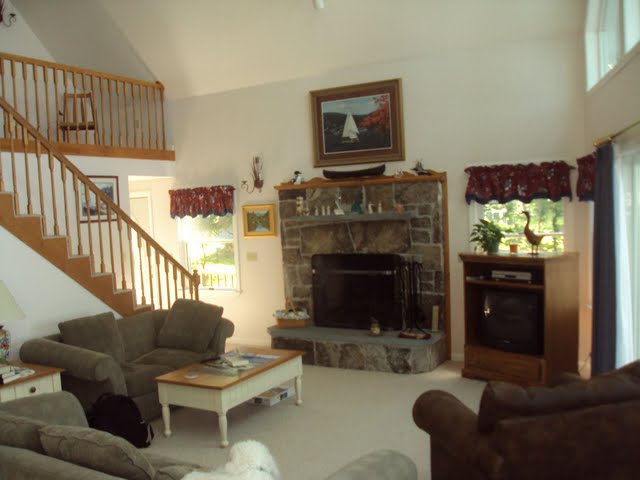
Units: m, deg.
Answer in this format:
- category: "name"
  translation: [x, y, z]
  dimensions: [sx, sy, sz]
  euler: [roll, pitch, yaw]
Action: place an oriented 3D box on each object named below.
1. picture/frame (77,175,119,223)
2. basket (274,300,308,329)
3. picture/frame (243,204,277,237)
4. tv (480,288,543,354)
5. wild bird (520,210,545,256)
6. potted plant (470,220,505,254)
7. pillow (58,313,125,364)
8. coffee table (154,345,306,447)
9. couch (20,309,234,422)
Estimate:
- category: "picture/frame"
  translation: [-3.370, -0.598, 7.830]
  dimensions: [0.665, 0.813, 0.027]
  euler: [-4, -19, -18]
- category: "basket"
  translation: [-0.396, 1.099, 7.438]
  dimensions: [0.367, 0.355, 0.385]
  euler: [2, 5, 21]
- category: "picture/frame"
  translation: [-0.910, -0.299, 8.030]
  dimensions: [0.470, 0.436, 0.052]
  euler: [1, 2, 22]
- category: "tv"
  translation: [2.189, 0.916, 5.830]
  dimensions: [0.403, 0.724, 0.718]
  euler: [-3, 4, -43]
- category: "wild bird"
  translation: [2.537, -0.081, 6.158]
  dimensions: [0.197, 0.587, 0.864]
  euler: [-1, 9, 23]
- category: "potted plant"
  translation: [2.025, -0.027, 6.304]
  dimensions: [0.428, 0.429, 0.422]
  euler: [-2, 4, -38]
- category: "pillow"
  translation: [-2.499, 1.133, 5.708]
  dimensions: [0.641, 0.580, 0.368]
  euler: [-9, 9, -31]
- category: "coffee table"
  translation: [-1.042, 1.446, 5.171]
  dimensions: [0.766, 0.506, 1.329]
  euler: [1, 5, 24]
- category: "couch"
  translation: [-2.098, 1.463, 6.059]
  dimensions: [1.076, 1.199, 2.406]
  euler: [-1, 0, 21]
